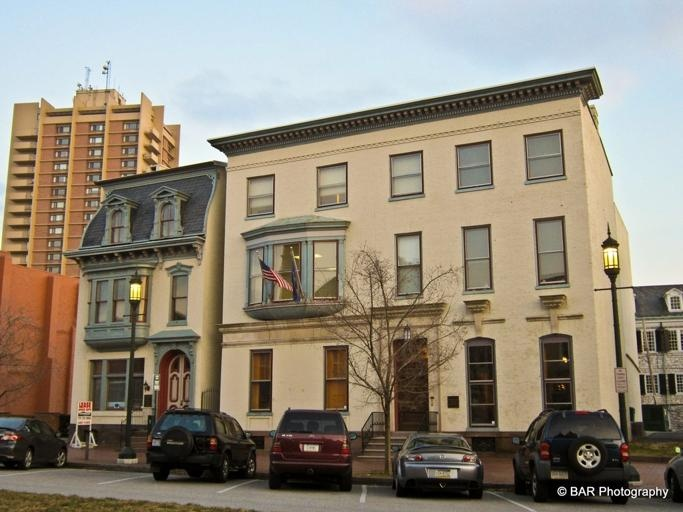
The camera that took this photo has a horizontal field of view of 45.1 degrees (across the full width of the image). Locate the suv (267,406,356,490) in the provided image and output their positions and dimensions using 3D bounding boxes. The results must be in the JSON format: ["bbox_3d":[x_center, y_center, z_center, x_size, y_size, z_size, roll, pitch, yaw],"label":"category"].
[{"bbox_3d":[-0.732,5.841,26.850,2.455,2.131,4.728,0,-3,6],"label":"suv"}]

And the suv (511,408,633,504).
[{"bbox_3d":[6.193,5.503,22.830,1.920,2.467,3.045,14,-21,-39],"label":"suv"}]

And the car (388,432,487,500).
[{"bbox_3d":[2.846,6.083,24.010,2.475,1.838,1.642,-4,-17,13],"label":"car"}]

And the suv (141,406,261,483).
[{"bbox_3d":[-4.837,6.375,27.650,3.241,2.270,4.761,-3,-16,9],"label":"suv"}]

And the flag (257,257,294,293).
[{"bbox_3d":[-2.929,0.819,36.926,1.469,1.508,1.595,1,-16,-3],"label":"flag"}]
